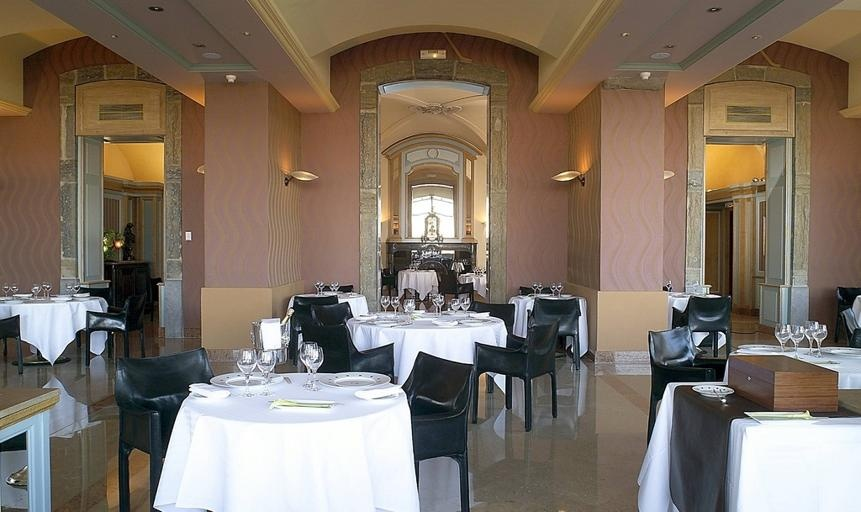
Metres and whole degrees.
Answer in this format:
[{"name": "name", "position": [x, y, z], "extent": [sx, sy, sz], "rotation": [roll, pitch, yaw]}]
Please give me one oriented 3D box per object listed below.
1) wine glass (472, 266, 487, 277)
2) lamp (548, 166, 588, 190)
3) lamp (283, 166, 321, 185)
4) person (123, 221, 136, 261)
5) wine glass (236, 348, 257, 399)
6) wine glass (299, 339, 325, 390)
[{"name": "wine glass", "position": [1.437, 0.452, 16.673], "extent": [0.326, 0.211, 0.277], "rotation": [-1, 2, 3]}, {"name": "lamp", "position": [2.601, -1.417, 10.518], "extent": [0.472, 0.266, 0.427], "rotation": [-3, 6, -21]}, {"name": "lamp", "position": [-2.395, -1.478, 10.740], "extent": [0.572, 0.326, 0.872], "rotation": [1, 0, -8]}, {"name": "person", "position": [-7.746, -0.401, 14.835], "extent": [0.282, 1.036, 1.081], "rotation": [1, 0, -26]}, {"name": "wine glass", "position": [-1.640, 1.002, 5.143], "extent": [0.161, 0.417, 0.390], "rotation": [1, 0, -18]}, {"name": "wine glass", "position": [-1.094, 0.974, 5.253], "extent": [0.197, 0.424, 0.362], "rotation": [1, 0, -13]}]
